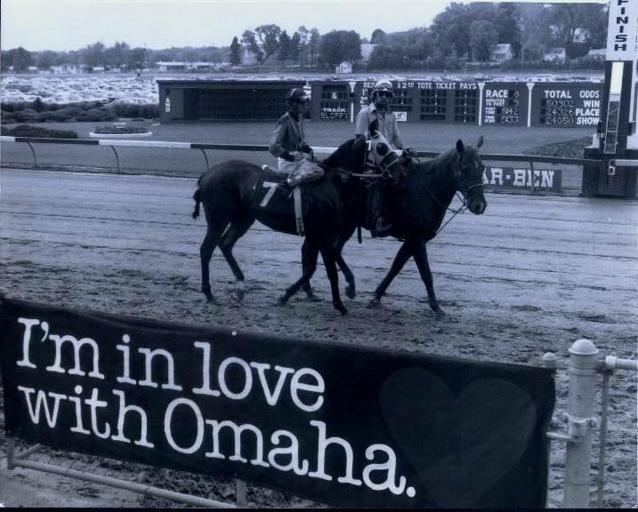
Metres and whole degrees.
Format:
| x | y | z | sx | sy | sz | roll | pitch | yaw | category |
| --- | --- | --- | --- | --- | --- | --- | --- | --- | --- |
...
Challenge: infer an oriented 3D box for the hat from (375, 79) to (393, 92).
| x | y | z | sx | sy | sz | roll | pitch | yaw | category |
| --- | --- | --- | --- | --- | --- | --- | --- | --- | --- |
| 0.970 | -2.458 | 20.091 | 0.162 | 0.118 | 0.223 | 0 | -5 | -1 | hat |

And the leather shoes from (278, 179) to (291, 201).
| x | y | z | sx | sy | sz | roll | pitch | yaw | category |
| --- | --- | --- | --- | --- | --- | --- | --- | --- | --- |
| -0.455 | -0.942 | 19.782 | 0.182 | 0.239 | 0.130 | 3 | 4 | 33 | leather shoes |

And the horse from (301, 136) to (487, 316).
| x | y | z | sx | sy | sz | roll | pitch | yaw | category |
| --- | --- | --- | --- | --- | --- | --- | --- | --- | --- |
| 1.614 | -0.456 | 19.844 | 1.593 | 2.457 | 0.711 | 0 | 10 | 4 | horse |

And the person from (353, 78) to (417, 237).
| x | y | z | sx | sy | sz | roll | pitch | yaw | category |
| --- | --- | --- | --- | --- | --- | --- | --- | --- | --- |
| 1.013 | -1.447 | 20.278 | 0.720 | 2.138 | 0.742 | 4 | 8 | 44 | person |

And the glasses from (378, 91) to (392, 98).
| x | y | z | sx | sy | sz | roll | pitch | yaw | category |
| --- | --- | --- | --- | --- | --- | --- | --- | --- | --- |
| 1.006 | -2.320 | 19.995 | 0.180 | 0.083 | 0.091 | -7 | 12 | -32 | glasses |

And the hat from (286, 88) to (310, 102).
| x | y | z | sx | sy | sz | roll | pitch | yaw | category |
| --- | --- | --- | --- | --- | --- | --- | --- | --- | --- |
| -0.239 | -2.315 | 19.931 | 0.283 | 0.149 | 0.209 | 2 | 0 | -33 | hat |
